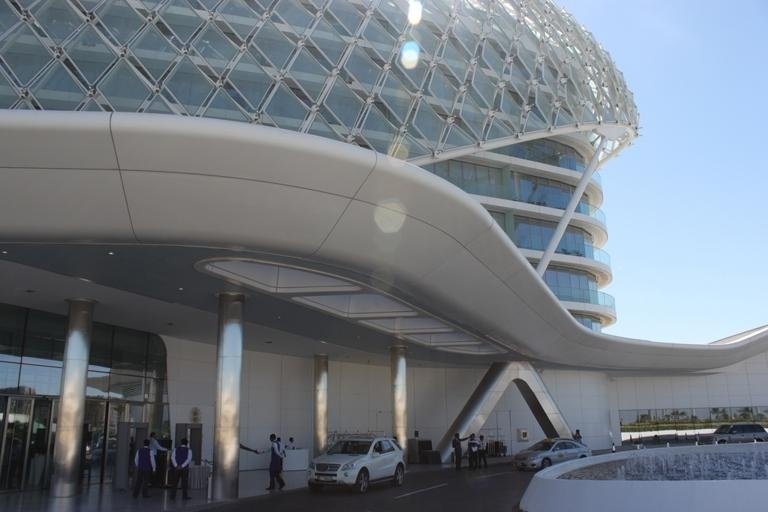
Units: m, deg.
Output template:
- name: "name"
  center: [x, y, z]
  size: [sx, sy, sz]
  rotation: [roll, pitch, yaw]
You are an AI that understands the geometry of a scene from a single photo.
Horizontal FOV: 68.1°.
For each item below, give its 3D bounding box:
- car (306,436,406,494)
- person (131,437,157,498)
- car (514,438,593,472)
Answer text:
- name: "car"
  center: [-1.011, 7.991, 21.824]
  size: [1.582, 2.013, 3.552]
  rotation: [-20, -27, 41]
- name: "person"
  center: [-8.591, 7.581, 20.304]
  size: [0.642, 1.951, 0.875]
  rotation: [6, -21, -23]
- name: "car"
  center: [8.096, 9.742, 27.889]
  size: [3.650, 1.447, 1.246]
  rotation: [8, -22, -25]
